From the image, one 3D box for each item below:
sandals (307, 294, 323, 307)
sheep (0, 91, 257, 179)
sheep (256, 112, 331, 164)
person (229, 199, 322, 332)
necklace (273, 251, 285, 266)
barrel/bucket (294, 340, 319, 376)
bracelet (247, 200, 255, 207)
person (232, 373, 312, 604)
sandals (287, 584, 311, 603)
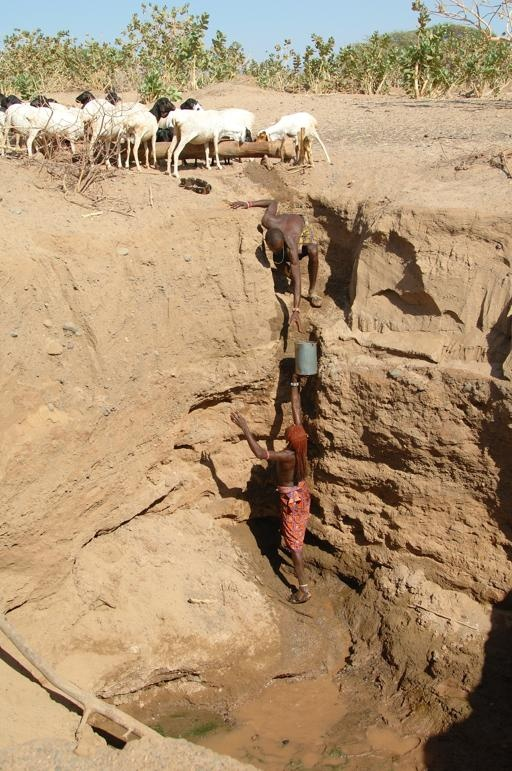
[{"bbox_3d":[0.617,-0.870,8.956,0.130,0.113,0.035,-3,-22,6],"label":"sandals"},{"bbox_3d":[-1.389,-2.666,9.308,2.677,0.740,1.177,-5,16,-27],"label":"sheep"},{"bbox_3d":[0.432,-2.824,9.845,0.482,0.473,0.661,-10,18,-37],"label":"sheep"},{"bbox_3d":[0.282,-1.243,8.878,0.806,1.254,0.958,8,16,19],"label":"person"},{"bbox_3d":[0.244,-1.269,8.726,0.092,0.117,0.117,0,-1,2],"label":"necklace"},{"bbox_3d":[0.524,-0.265,8.451,0.264,0.330,0.212,-3,16,-19],"label":"barrel/bucket"},{"bbox_3d":[-0.056,-1.823,8.732,0.069,0.064,0.027,-4,4,-36],"label":"bracelet"},{"bbox_3d":[0.182,1.063,8.661,0.849,2.187,0.921,0,16,-8],"label":"person"},{"bbox_3d":[0.429,2.071,8.652,0.288,0.197,0.133,-18,30,51],"label":"sandals"}]
